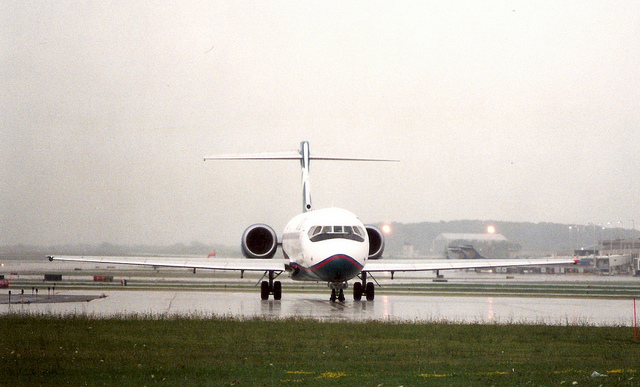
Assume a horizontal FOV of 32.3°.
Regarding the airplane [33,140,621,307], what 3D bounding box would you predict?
[{"bbox_3d":[0.385,1.949,75.331,33.031,12.262,34.568,1,-3,-8],"label":"airplane"}]
